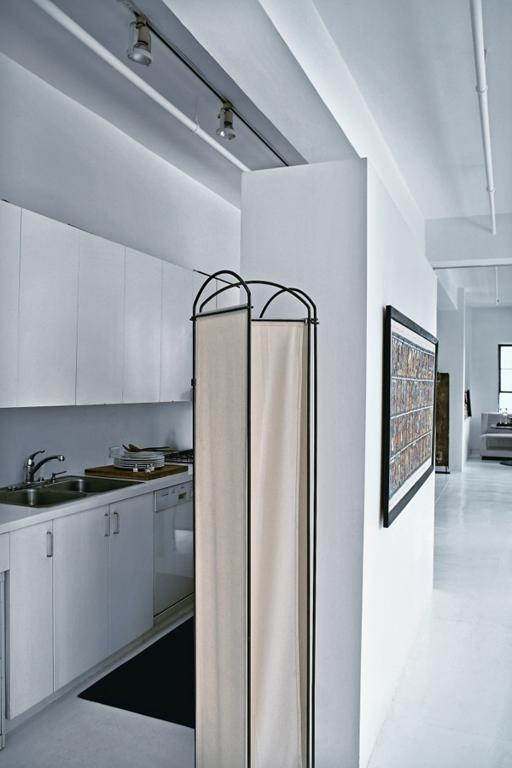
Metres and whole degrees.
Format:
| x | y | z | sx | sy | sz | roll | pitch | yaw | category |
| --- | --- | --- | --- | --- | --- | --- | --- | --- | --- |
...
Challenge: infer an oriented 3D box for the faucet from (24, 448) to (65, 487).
| x | y | z | sx | sy | sz | roll | pitch | yaw | category |
| --- | --- | --- | --- | --- | --- | --- | --- | --- | --- |
| -1.124 | 0.466 | 3.049 | 0.286 | 0.300 | 0.121 | -4 | -3 | 32 | faucet |
